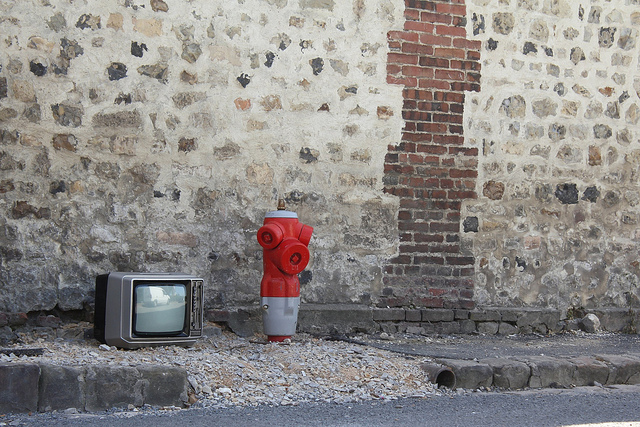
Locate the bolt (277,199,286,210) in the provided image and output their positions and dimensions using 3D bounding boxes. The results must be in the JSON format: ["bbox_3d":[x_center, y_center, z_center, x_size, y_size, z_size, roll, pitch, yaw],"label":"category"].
[{"bbox_3d":[-0.350,-0.079,7.679,0.076,0.085,0.077,1,-1,-5],"label":"bolt"}]

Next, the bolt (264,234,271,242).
[{"bbox_3d":[-0.472,0.225,7.446,0.054,0.051,0.013,-2,5,19],"label":"bolt"}]

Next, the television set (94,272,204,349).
[{"bbox_3d":[-1.511,0.853,7.510,0.880,0.650,0.663,4,-2,-40],"label":"television set"}]

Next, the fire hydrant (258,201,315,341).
[{"bbox_3d":[-0.334,0.573,7.585,0.475,1.165,0.309,3,12,-2],"label":"fire hydrant"}]

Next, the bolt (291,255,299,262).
[{"bbox_3d":[-0.220,0.400,7.457,0.048,0.048,0.088,2,-6,-34],"label":"bolt"}]
